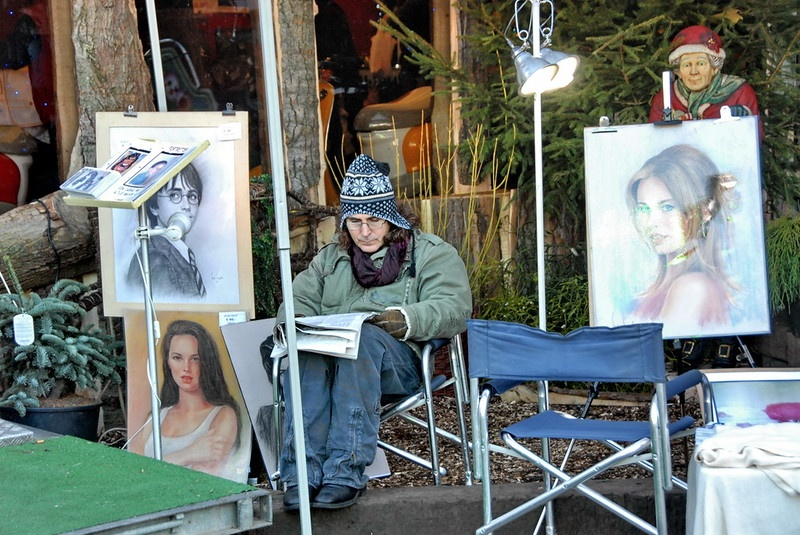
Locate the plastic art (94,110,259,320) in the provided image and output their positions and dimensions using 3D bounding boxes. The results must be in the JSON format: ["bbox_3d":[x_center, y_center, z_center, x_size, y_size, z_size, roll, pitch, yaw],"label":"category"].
[{"bbox_3d":[-1.451,-0.333,6.055,1.229,1.768,0.078,1,6,0],"label":"plastic art"}]

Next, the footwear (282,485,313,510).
[{"bbox_3d":[-0.571,1.254,5.175,0.118,0.115,0.260,1,-9,-14],"label":"footwear"}]

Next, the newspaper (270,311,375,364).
[{"bbox_3d":[-0.422,0.358,5.309,0.479,0.257,0.760,-3,1,-11],"label":"newspaper"}]

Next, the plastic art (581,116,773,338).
[{"bbox_3d":[1.748,-0.253,6.038,1.103,1.478,0.145,-3,-22,17],"label":"plastic art"}]

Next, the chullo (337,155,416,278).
[{"bbox_3d":[-0.145,-0.370,6.034,0.481,0.770,0.507,13,27,39],"label":"chullo"}]
